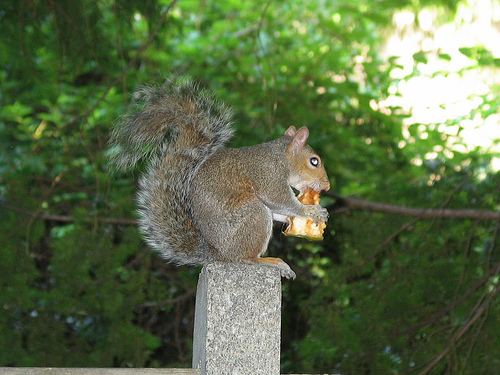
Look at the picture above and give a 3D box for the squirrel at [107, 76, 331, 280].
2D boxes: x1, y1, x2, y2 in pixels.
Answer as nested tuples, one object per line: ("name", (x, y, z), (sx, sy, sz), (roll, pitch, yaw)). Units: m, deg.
("squirrel", (-0.399, -0.092, 6.268), (1.608, 2.162, 1.858), (2, 5, -26))
